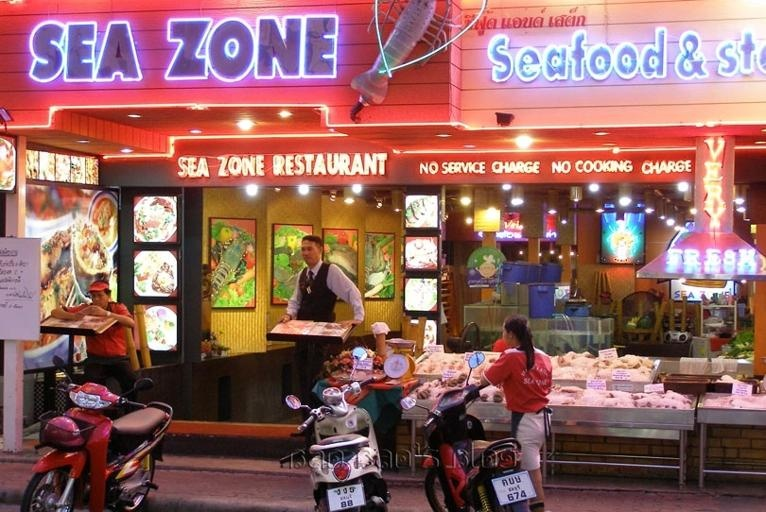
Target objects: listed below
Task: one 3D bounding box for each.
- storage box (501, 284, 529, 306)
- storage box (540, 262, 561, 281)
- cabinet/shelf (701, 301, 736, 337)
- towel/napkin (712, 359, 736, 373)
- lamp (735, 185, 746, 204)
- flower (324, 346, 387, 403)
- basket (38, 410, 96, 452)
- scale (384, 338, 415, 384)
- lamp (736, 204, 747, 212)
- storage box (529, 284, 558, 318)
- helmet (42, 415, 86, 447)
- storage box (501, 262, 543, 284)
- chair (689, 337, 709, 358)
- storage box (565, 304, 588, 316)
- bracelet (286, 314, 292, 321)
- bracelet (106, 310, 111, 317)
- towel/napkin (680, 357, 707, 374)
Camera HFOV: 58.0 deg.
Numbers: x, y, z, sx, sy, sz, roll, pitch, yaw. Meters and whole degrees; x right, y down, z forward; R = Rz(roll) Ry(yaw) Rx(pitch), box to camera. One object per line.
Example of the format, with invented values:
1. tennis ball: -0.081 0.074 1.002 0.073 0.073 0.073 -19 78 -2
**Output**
1. storage box: 2.165 0.652 11.431 0.340 0.253 0.351 2 -4 -23
2. storage box: 3.058 0.319 12.617 0.304 0.376 0.525 -1 -1 32
3. cabinet/shelf: 8.878 1.723 18.373 0.487 0.480 0.894 4 2 15
4. towel/napkin: 5.258 1.705 10.742 0.248 0.132 0.247 1 2 5
5. lamp: 5.993 -1.035 11.645 0.229 0.225 0.414 -1 -13 19
6. flower: -0.373 1.332 7.976 0.641 0.145 0.639 -4 16 22
7. basket: -2.957 1.662 6.523 0.469 0.243 0.590 14 -2 8
8. scale: 0.195 1.210 8.065 0.354 0.444 0.350 -1 0 27
9. lamp: 7.630 -1.017 14.800 0.144 0.089 0.255 -27 13 -16
10. storage box: 2.483 0.720 10.893 0.384 0.533 0.406 -2 -3 10
11. helmet: -2.912 1.619 6.304 0.304 0.191 0.300 6 4 -6
12. storage box: 2.344 0.320 11.944 0.378 0.301 0.591 -2 -7 26
13. chair: 6.619 1.931 14.445 0.363 0.437 1.585 -2 -3 23
14. storage box: 3.129 0.887 11.191 0.365 0.182 0.242 -2 -3 11
15. bracelet: -1.150 0.749 8.414 0.042 0.045 0.086 -14 24 7
16. bracelet: -3.408 0.723 8.620 0.061 0.018 0.060 4 32 -5
17. towel/napkin: 4.760 1.707 10.770 0.327 0.196 0.316 1 -4 -12
